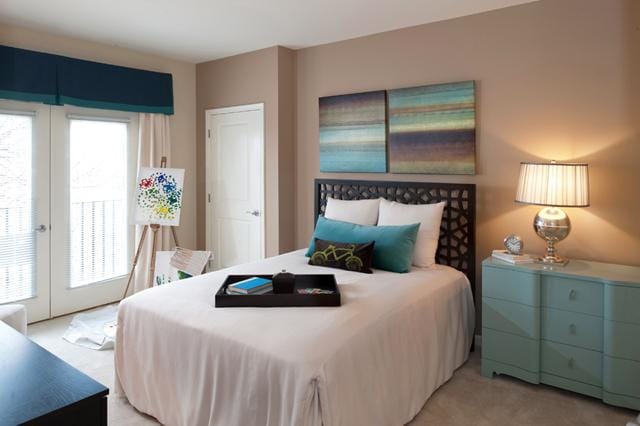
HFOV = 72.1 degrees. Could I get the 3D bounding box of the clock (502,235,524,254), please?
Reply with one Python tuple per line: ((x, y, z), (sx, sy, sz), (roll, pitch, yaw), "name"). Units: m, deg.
((1.782, 0.292, 4.035), (0.070, 0.168, 0.152), (-8, -4, -41), "clock")
